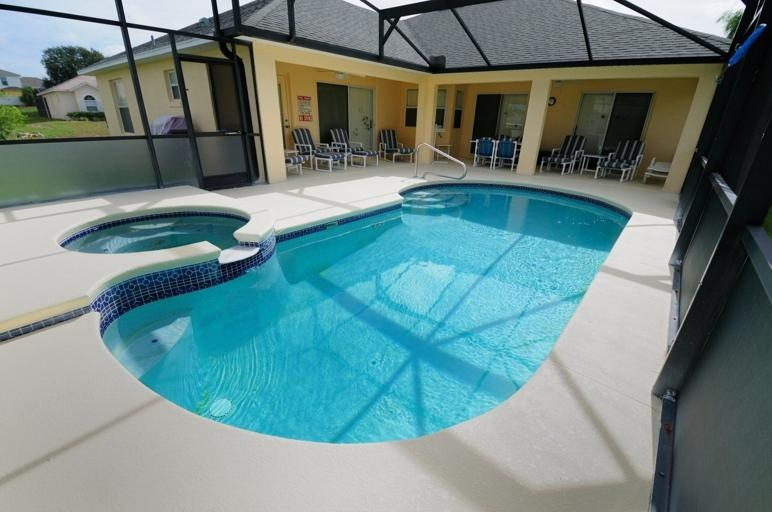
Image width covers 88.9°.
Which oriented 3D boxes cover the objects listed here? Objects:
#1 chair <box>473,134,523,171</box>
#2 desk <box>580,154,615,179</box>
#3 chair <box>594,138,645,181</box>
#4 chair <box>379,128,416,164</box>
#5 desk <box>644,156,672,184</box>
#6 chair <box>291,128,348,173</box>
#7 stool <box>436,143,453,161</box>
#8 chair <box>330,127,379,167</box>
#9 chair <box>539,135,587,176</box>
[{"bbox_3d":[3.469,-3.328,12.507,1.327,0.878,2.060,6,22,13],"label":"chair"},{"bbox_3d":[6.141,-2.644,11.457,0.571,0.728,0.777,13,40,30],"label":"desk"},{"bbox_3d":[6.432,-2.682,10.776,1.272,1.013,0.773,-18,28,-38],"label":"chair"},{"bbox_3d":[0.306,-3.860,13.590,0.801,0.964,1.250,-9,25,-27],"label":"chair"},{"bbox_3d":[7.519,-2.433,10.896,0.479,0.628,1.464,17,26,35],"label":"desk"},{"bbox_3d":[-1.919,-3.085,11.219,1.408,0.987,0.869,14,27,25],"label":"chair"},{"bbox_3d":[2.089,-3.930,14.359,0.513,0.440,1.053,5,22,10],"label":"stool"},{"bbox_3d":[-1.016,-3.423,12.189,1.222,0.932,0.798,10,27,26],"label":"chair"},{"bbox_3d":[5.313,-3.087,11.752,1.232,1.007,0.791,-21,29,-36],"label":"chair"}]
